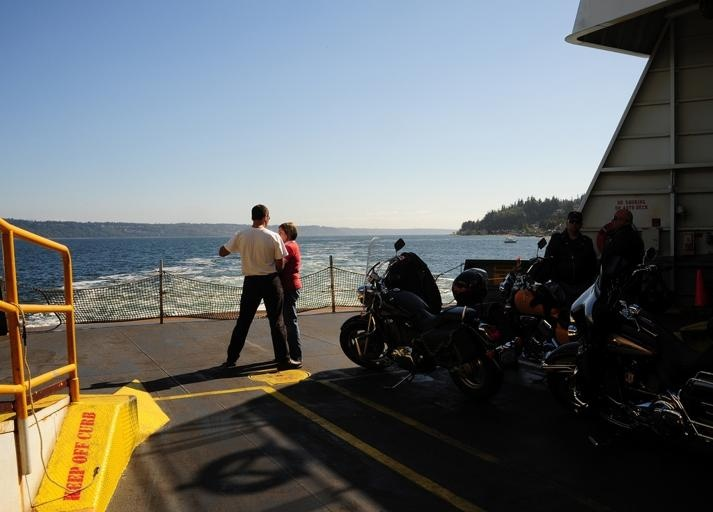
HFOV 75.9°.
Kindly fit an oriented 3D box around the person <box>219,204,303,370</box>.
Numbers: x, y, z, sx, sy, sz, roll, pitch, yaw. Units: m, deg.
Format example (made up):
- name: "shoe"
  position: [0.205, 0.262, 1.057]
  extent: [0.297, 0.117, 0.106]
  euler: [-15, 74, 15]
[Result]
- name: "person"
  position: [-1.329, 0.439, 6.469]
  extent: [0.998, 2.305, 0.415]
  euler: [-1, 5, -11]
